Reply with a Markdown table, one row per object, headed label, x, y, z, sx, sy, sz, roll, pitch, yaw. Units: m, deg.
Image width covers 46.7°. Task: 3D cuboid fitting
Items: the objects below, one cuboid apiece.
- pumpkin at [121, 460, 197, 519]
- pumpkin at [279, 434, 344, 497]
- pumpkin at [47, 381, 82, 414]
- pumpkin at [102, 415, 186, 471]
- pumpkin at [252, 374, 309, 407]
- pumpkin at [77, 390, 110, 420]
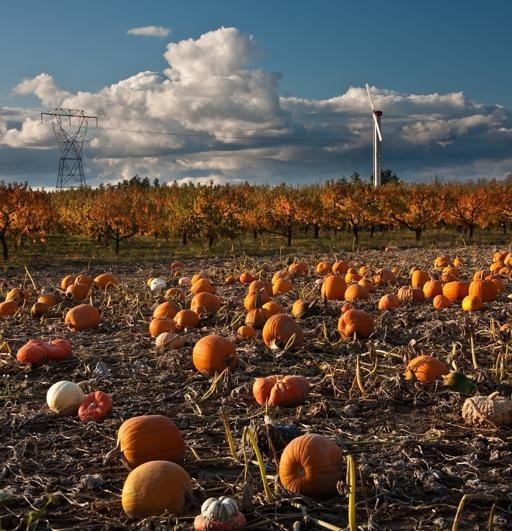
| label | x | y | z | sx | sy | sz | roll | pitch | yaw |
| --- | --- | --- | --- | --- | --- | --- | --- | --- | --- |
| pumpkin | -0.594 | 1.323 | 3.609 | 0.325 | 0.333 | 0.336 | -5 | 24 | -39 |
| pumpkin | 0.337 | 1.249 | 3.711 | 0.392 | 0.323 | 0.228 | -2 | 10 | 1 |
| pumpkin | -1.629 | 1.129 | 5.135 | 0.297 | 0.241 | 0.218 | -8 | 12 | -32 |
| pumpkin | -0.755 | 1.068 | 4.098 | 0.523 | 0.380 | 0.363 | -13 | 15 | -13 |
| pumpkin | 0.231 | 1.075 | 5.105 | 0.446 | 0.245 | 0.403 | -5 | 10 | -18 |
| pumpkin | -1.335 | 1.179 | 4.985 | 0.231 | 0.235 | 0.123 | 2 | 46 | -38 |
